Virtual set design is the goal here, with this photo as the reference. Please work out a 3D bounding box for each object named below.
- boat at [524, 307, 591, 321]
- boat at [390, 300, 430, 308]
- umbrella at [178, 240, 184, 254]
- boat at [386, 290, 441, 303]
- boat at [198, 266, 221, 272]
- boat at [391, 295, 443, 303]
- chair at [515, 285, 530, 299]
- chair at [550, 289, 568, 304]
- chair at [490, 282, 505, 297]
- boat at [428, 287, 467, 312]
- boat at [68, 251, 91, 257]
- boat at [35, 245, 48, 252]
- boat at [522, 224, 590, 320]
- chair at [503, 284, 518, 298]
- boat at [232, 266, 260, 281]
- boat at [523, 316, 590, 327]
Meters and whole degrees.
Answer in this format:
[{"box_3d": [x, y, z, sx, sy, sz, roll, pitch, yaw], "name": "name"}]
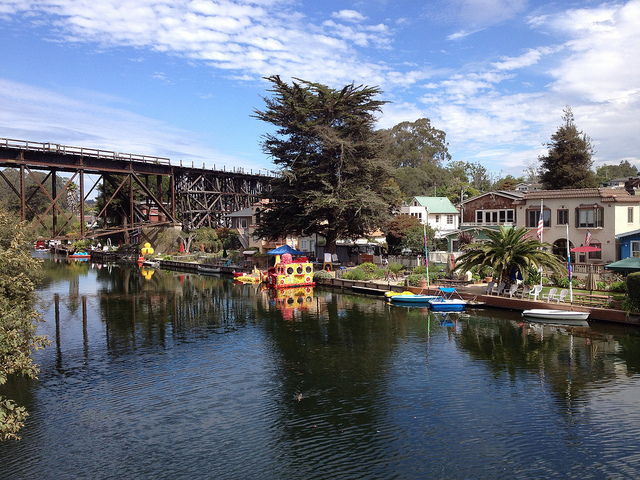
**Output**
[{"box_3d": [16.043, 4.886, 37.983, 4.405, 0.596, 1.157, -2, 3, 27], "name": "boat"}, {"box_3d": [7.320, 5.174, 46.549, 3.758, 0.496, 0.902, -2, -3, 21], "name": "boat"}, {"box_3d": [-22.433, 0.928, 89.433, 1.445, 2.213, 1.204, -1, 4, -17], "name": "umbrella"}, {"box_3d": [7.684, 4.709, 46.720, 4.049, 0.874, 1.362, -1, 0, 11], "name": "boat"}, {"box_3d": [-14.503, 3.701, 73.842, 4.449, 0.732, 1.078, -3, -5, 41], "name": "boat"}, {"box_3d": [7.825, 4.686, 46.322, 3.395, 0.501, 1.136, 2, 0, 16], "name": "boat"}, {"box_3d": [15.085, 3.648, 42.239, 0.975, 1.005, 2.216, 2, 10, 15], "name": "chair"}, {"box_3d": [17.083, 3.856, 40.012, 1.257, 1.085, 0.892, -7, 3, -27], "name": "chair"}, {"box_3d": [13.855, 3.640, 44.036, 1.028, 1.286, 0.888, 1, -1, -32], "name": "chair"}, {"box_3d": [10.106, 4.633, 44.913, 2.795, 1.292, 3.836, 1, 9, 9], "name": "boat"}, {"box_3d": [-43.541, 2.419, 102.583, 2.294, 0.778, 3.959, -10, 13, -43], "name": "boat"}, {"box_3d": [-64.095, 1.614, 129.971, 2.456, 0.954, 2.351, 1, -4, -4], "name": "boat"}, {"box_3d": [16.118, 2.258, 38.962, 1.403, 6.382, 5.065, 4, -4, -35], "name": "boat"}, {"box_3d": [14.327, 3.660, 42.737, 1.020, 1.224, 0.852, 5, -5, -36], "name": "chair"}, {"box_3d": [-8.277, 3.904, 64.139, 2.507, 0.930, 1.605, 0, 0, 14], "name": "boat"}, {"box_3d": [15.965, 5.461, 38.307, 4.291, 0.570, 1.053, -1, -1, 29], "name": "boat"}]
